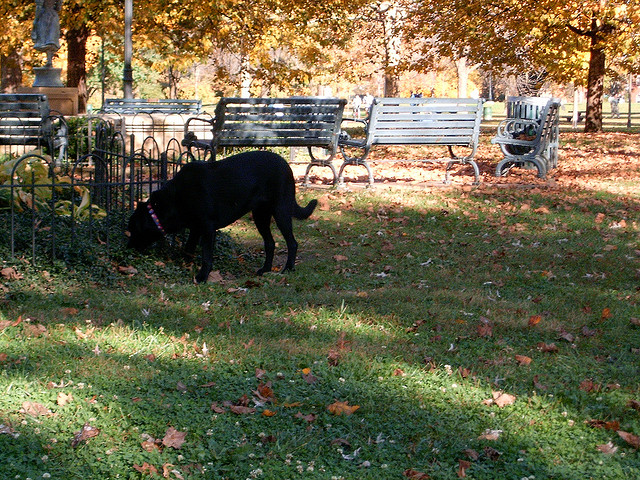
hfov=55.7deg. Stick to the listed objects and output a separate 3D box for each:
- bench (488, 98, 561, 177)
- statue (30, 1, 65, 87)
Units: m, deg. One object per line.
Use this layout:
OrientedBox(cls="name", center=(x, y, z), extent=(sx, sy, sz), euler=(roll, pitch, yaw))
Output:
OrientedBox(cls="bench", center=(4.123, -2.034, 12.151), extent=(1.149, 1.630, 1.566), euler=(5, 4, 19))
OrientedBox(cls="statue", center=(-6.932, -5.096, 15.535), extent=(0.797, 2.284, 1.034), euler=(2, 4, -22))
